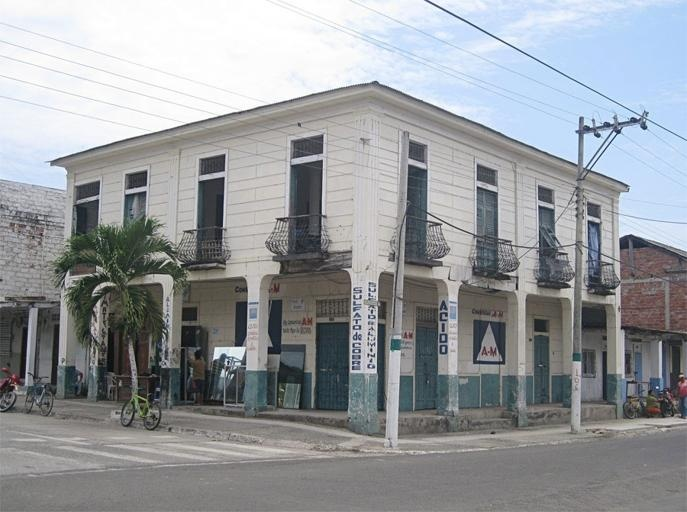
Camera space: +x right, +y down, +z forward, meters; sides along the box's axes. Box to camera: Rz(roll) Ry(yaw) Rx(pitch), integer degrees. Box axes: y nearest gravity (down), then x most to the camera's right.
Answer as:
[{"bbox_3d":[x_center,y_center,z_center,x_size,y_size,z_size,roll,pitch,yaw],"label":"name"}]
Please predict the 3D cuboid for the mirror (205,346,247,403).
[{"bbox_3d":[-4.231,4.350,30.188,0.601,2.190,1.937,10,-15,-36],"label":"mirror"}]

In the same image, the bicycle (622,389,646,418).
[{"bbox_3d":[12.526,6.592,36.446,0.689,0.872,1.464,2,-3,43],"label":"bicycle"}]

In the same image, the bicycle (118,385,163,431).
[{"bbox_3d":[-6.098,4.740,25.381,1.637,1.191,0.690,-11,-17,41],"label":"bicycle"}]

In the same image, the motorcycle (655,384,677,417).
[{"bbox_3d":[14.353,6.589,37.422,0.818,1.052,1.689,-2,-4,40],"label":"motorcycle"}]
